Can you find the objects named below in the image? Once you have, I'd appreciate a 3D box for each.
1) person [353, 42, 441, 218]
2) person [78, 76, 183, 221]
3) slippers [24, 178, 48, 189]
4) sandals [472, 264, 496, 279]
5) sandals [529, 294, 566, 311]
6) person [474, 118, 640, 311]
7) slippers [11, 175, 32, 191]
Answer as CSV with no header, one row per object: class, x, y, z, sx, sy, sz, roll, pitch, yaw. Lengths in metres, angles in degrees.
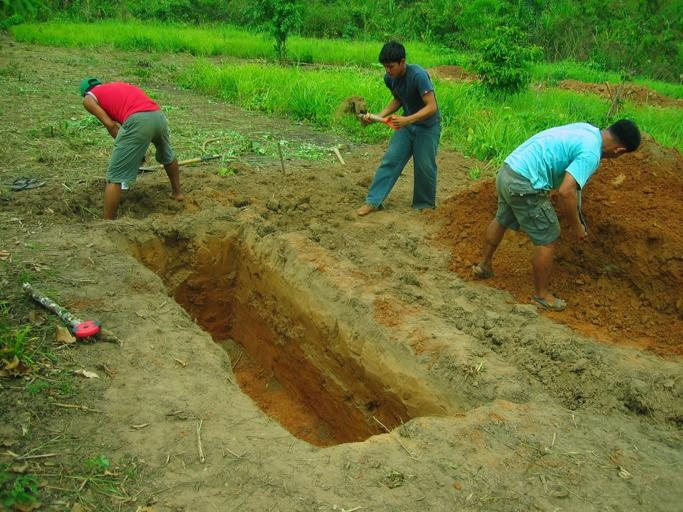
person,0.707,-1.442,7.995,0.886,1.942,0.634,5,23,7
person,-2.435,-1.301,8.080,0.929,1.675,0.929,-11,15,-14
slippers,-3.674,-0.858,8.354,0.149,0.040,0.150,0,26,-13
sandals,1.497,0.174,7.306,0.210,0.089,0.107,12,31,-37
sandals,2.086,0.467,6.956,0.238,0.081,0.154,9,27,26
person,2.145,-0.451,6.995,1.344,1.868,0.883,5,26,7
slippers,-3.821,-0.859,8.324,0.170,0.039,0.187,1,30,9
